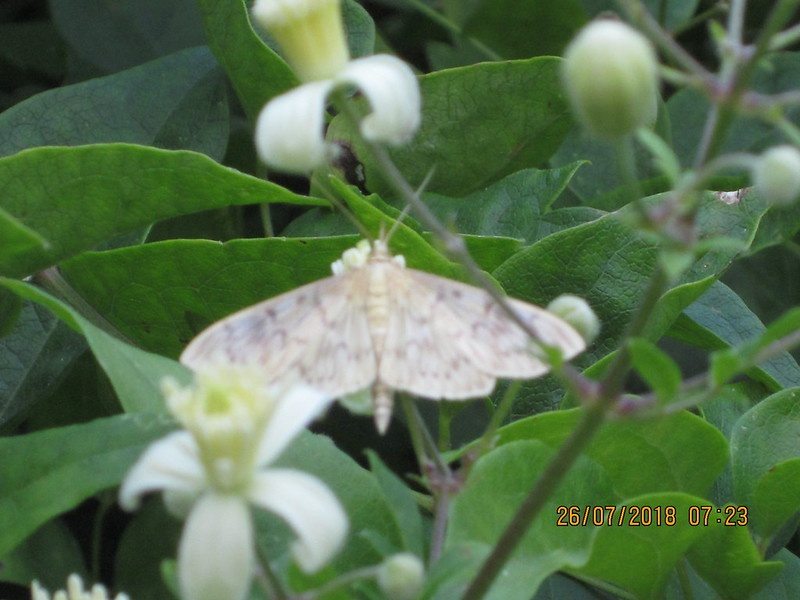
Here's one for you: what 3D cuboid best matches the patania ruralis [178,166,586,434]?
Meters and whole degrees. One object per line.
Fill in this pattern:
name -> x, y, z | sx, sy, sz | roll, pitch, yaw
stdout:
patania ruralis -> -0.012, 0.002, 0.918 | 0.283, 0.046, 0.147 | 1, 67, 2
